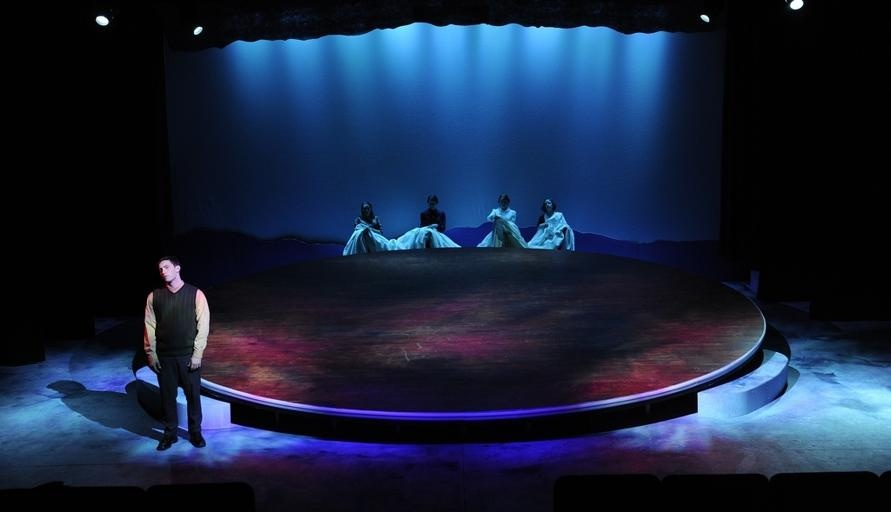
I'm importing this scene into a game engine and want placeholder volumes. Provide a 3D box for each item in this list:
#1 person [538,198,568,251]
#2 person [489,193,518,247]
[{"bbox_3d":[1.614,-0.465,8.941,0.520,0.699,0.426,5,12,22],"label":"person"},{"bbox_3d":[0.888,-0.524,8.971,0.473,0.736,0.371,1,12,4],"label":"person"}]
